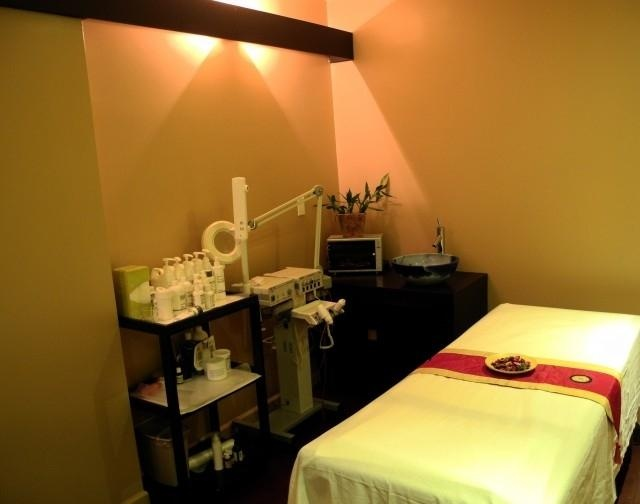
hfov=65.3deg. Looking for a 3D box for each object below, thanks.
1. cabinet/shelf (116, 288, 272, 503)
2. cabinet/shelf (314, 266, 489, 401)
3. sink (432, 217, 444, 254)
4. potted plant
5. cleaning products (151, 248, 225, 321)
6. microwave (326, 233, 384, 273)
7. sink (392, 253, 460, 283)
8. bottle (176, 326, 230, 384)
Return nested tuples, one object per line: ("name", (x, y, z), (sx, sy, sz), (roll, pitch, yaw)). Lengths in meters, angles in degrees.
("cabinet/shelf", (-0.777, 0.648, 2.971), (0.731, 1.312, 0.914), (4, 11, 36))
("cabinet/shelf", (0.573, 0.541, 3.453), (0.820, 0.815, 0.478), (2, 20, 24))
("sink", (0.828, -0.104, 3.473), (0.079, 0.242, 0.188), (1, 9, 14))
("potted plant", (0.254, -0.353, 3.775), (0.415, 0.451, 0.442), (-7, 10, -34))
("cleaning products", (-0.649, 0.158, 2.605), (0.353, 0.422, 0.296), (-1, 4, -4))
("microwave", (0.244, 0.023, 3.557), (0.407, 0.305, 0.248), (1, 6, 12))
("sink", (0.686, 0.102, 3.275), (0.400, 0.135, 0.518), (0, 9, 12))
("bottle", (-0.622, 0.537, 2.770), (0.309, 0.349, 0.217), (1, 11, 16))
